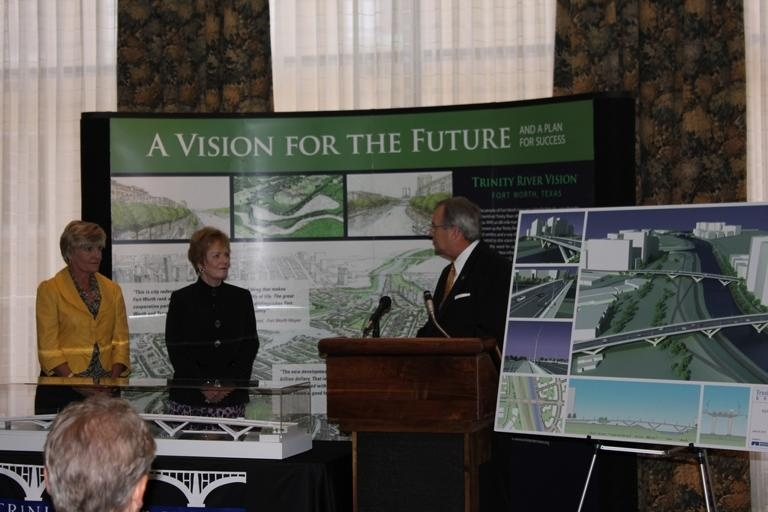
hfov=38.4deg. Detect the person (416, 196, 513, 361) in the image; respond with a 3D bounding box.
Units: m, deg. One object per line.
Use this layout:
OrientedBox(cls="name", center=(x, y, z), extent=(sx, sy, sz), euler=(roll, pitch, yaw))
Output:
OrientedBox(cls="person", center=(0.521, 0.110, 7.220), extent=(0.565, 0.978, 0.776), euler=(-4, 5, -14))
